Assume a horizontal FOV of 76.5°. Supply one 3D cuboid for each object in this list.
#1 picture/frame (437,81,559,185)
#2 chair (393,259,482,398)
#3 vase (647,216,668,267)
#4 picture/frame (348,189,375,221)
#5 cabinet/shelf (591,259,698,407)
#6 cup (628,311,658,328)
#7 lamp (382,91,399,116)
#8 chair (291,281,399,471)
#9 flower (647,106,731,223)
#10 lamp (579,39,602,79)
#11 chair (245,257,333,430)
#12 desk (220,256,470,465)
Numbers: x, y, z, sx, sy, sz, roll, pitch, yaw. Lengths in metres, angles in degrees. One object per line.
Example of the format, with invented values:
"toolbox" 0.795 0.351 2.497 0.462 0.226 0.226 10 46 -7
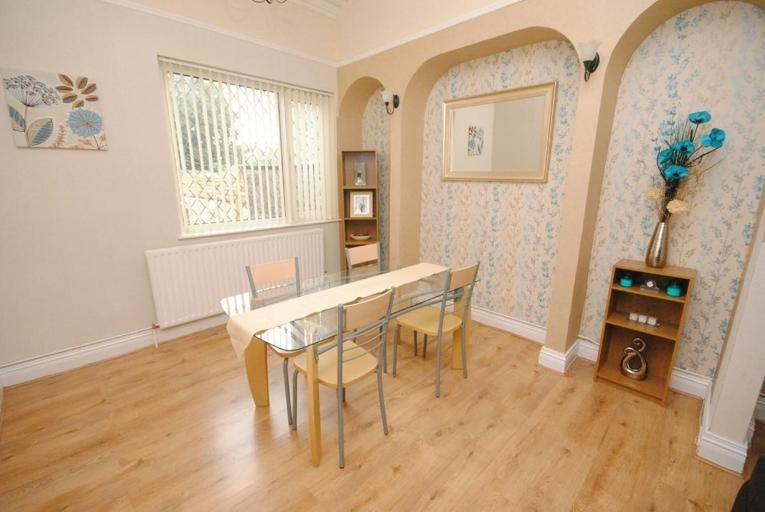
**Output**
"picture/frame" 1.236 -1.288 5.016 1.101 0.841 0.054 9 17 36
"chair" 0.496 0.611 4.631 0.680 1.136 0.557 12 18 35
"vase" 2.401 -0.113 4.253 0.165 0.428 0.113 2 13 11
"picture/frame" -0.263 -0.647 5.998 0.339 0.378 0.024 1 9 3
"cabinet/shelf" 2.352 0.653 4.411 0.673 1.193 0.390 8 15 33
"cup" 2.372 0.569 4.422 0.236 0.085 0.168 7 14 32
"lamp" 0.096 -1.699 5.404 0.173 0.243 0.176 0 13 2
"chair" -0.363 0.935 4.136 0.746 1.379 0.792 -11 19 -37
"flower" 2.591 -0.770 4.159 0.500 0.887 0.406 8 15 33
"lamp" 1.783 -1.688 4.223 0.159 0.299 0.191 8 15 32
"chair" -0.779 1.058 4.575 0.746 1.174 0.675 10 -30 -42
"desk" -0.144 0.704 4.582 1.362 1.484 2.379 19 26 40
